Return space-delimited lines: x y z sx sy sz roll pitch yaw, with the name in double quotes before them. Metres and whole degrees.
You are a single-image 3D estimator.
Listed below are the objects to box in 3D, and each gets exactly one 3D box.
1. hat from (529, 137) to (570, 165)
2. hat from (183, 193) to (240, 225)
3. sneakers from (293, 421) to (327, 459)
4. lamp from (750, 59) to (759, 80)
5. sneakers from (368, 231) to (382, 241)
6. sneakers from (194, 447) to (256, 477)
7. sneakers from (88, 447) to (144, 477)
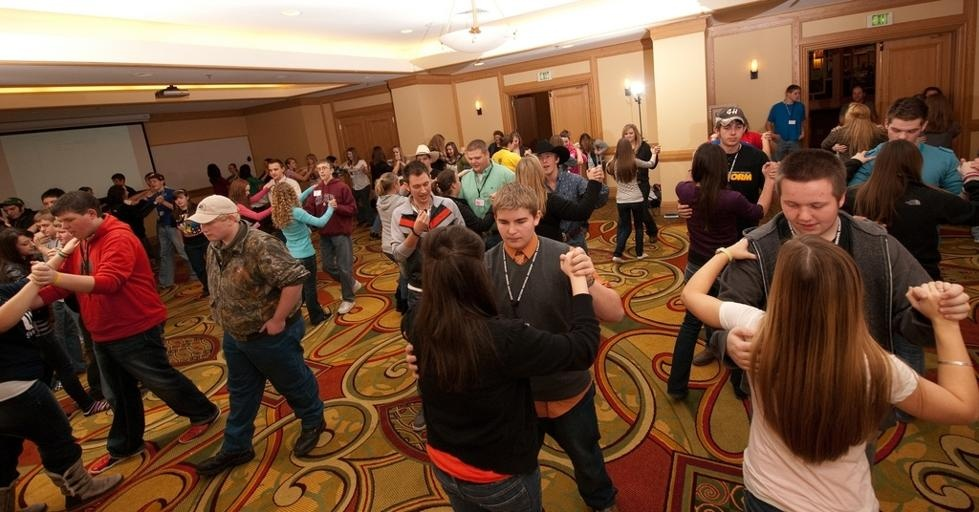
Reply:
"hat" 0.803 -1.434 7.139 0.551 0.207 0.586 -3 -16 5
"hat" -3.011 -0.509 5.905 0.460 0.235 0.306 -2 2 -40
"sneakers" -2.046 2.078 6.299 0.208 0.234 0.512 1 26 24
"lamp" 5.191 -3.658 10.750 0.162 0.365 0.065 -7 17 -6
"sneakers" -2.440 -0.410 11.562 0.117 0.205 0.231 19 35 28
"sneakers" -2.983 2.302 6.226 0.659 0.269 0.230 -4 8 -29
"sneakers" -4.318 2.367 6.420 0.622 0.215 0.230 -8 10 -28
